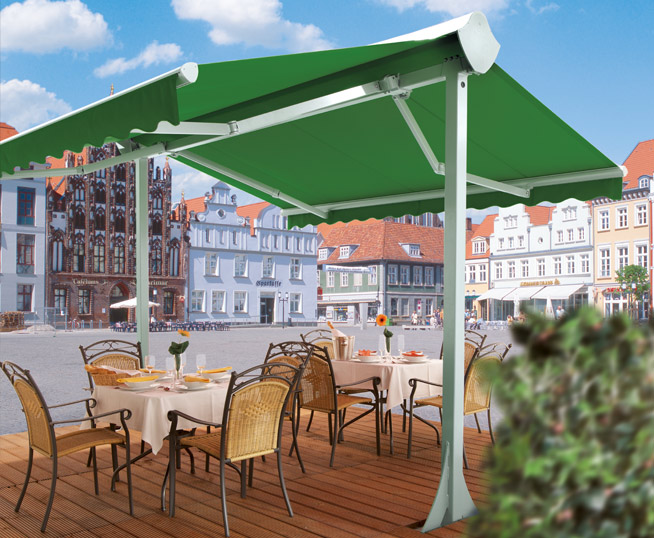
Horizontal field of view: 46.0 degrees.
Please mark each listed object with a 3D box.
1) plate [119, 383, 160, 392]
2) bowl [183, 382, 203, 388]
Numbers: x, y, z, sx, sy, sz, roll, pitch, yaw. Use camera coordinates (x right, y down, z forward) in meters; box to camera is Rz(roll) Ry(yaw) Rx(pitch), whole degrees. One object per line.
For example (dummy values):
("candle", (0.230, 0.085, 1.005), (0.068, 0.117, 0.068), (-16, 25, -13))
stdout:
("plate", (-1.141, 0.716, 4.765), (0.272, 0.044, 0.221), (4, -3, -32))
("bowl", (-0.804, 0.699, 4.670), (0.104, 0.036, 0.049), (2, -3, -1))
